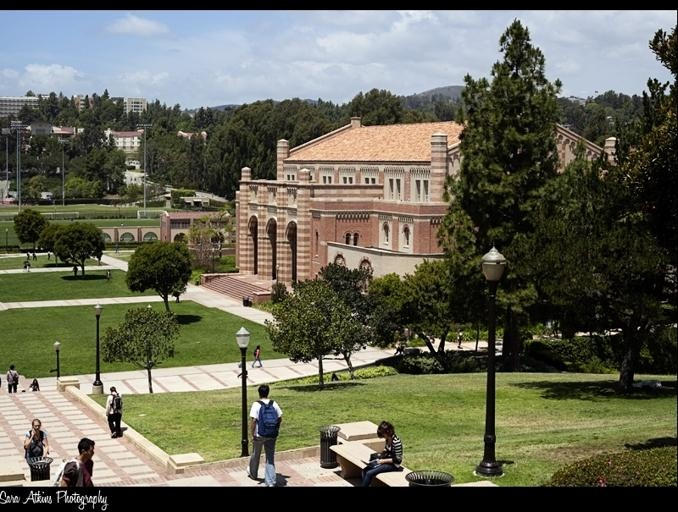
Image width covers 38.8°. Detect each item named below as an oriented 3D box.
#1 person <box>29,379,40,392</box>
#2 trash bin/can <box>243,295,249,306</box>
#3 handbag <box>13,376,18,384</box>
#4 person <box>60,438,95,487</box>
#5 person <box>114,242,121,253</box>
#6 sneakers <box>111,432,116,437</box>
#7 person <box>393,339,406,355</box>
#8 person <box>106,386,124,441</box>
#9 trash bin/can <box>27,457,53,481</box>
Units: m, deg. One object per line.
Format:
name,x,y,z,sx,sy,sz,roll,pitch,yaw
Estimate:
person,-15.121,6.537,47.921,0.629,0.784,0.747,3,-8,-14
trash bin/can,-7.536,3.779,78.622,0.579,0.674,0.605,-1,1,3
handbag,-15.604,6.092,46.556,0.363,0.377,0.241,1,-7,-15
person,-6.528,5.340,24.283,0.598,1.297,1.023,1,1,1
person,-28.173,-0.935,122.916,1.316,1.445,0.440,-1,-2,-6
sneakers,-7.724,6.226,33.152,0.177,0.152,0.294,0,1,-14
person,3.740,5.490,57.919,0.630,1.002,1.653,1,1,4
person,-7.748,5.591,33.362,0.496,1.398,0.797,0,1,-16
trash bin/can,-8.424,6.064,27.225,0.616,0.787,0.634,2,-10,-18
